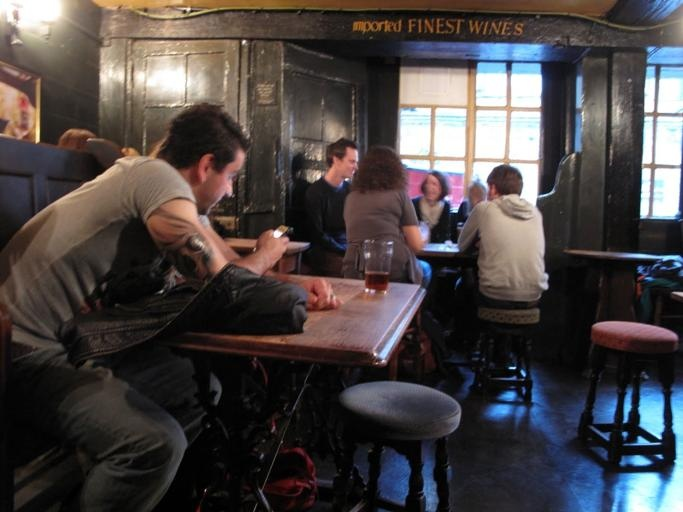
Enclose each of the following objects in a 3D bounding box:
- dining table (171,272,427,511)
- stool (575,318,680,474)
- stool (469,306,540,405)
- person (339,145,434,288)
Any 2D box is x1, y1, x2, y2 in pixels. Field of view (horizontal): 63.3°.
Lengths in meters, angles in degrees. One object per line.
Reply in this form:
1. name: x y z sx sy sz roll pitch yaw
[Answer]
1. dining table: -0.111 0.553 1.929 0.608 0.230 0.971 1 6 10
2. stool: 1.681 0.786 3.231 0.455 0.728 0.398 0 11 -4
3. stool: 1.218 0.715 4.203 0.641 0.942 0.641 0 -2 10
4. person: 0.359 -0.291 4.304 0.729 1.002 0.771 6 -9 -16
